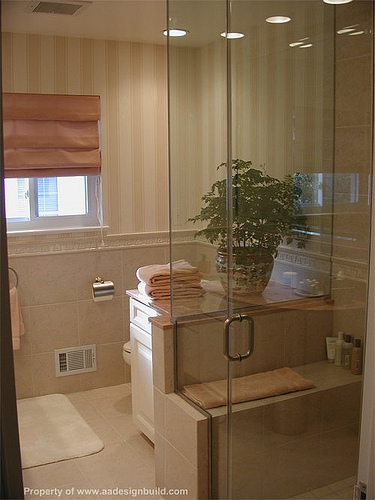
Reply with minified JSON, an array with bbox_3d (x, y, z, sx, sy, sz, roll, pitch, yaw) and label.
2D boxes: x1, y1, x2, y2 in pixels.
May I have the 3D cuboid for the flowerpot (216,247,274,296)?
[{"bbox_3d":[0.179,0.050,1.207,0.108,0.132,0.150,-6,14,-35],"label":"flowerpot"}]

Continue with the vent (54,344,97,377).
[{"bbox_3d":[-0.868,0.865,3.274,0.314,0.221,0.021,-2,5,-27],"label":"vent"}]

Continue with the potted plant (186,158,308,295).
[{"bbox_3d":[0.180,-0.048,1.241,0.305,0.378,0.281,2,0,-3],"label":"potted plant"}]

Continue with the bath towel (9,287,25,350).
[{"bbox_3d":[-1.188,0.504,2.940,0.090,0.466,0.263,-1,5,-21],"label":"bath towel"}]

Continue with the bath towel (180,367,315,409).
[{"bbox_3d":[0.180,0.412,1.244,0.348,0.037,0.196,-7,-2,-8],"label":"bath towel"}]

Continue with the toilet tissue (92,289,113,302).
[{"bbox_3d":[-0.655,0.358,3.263,0.161,0.110,0.170,-1,5,-13],"label":"toilet tissue"}]
